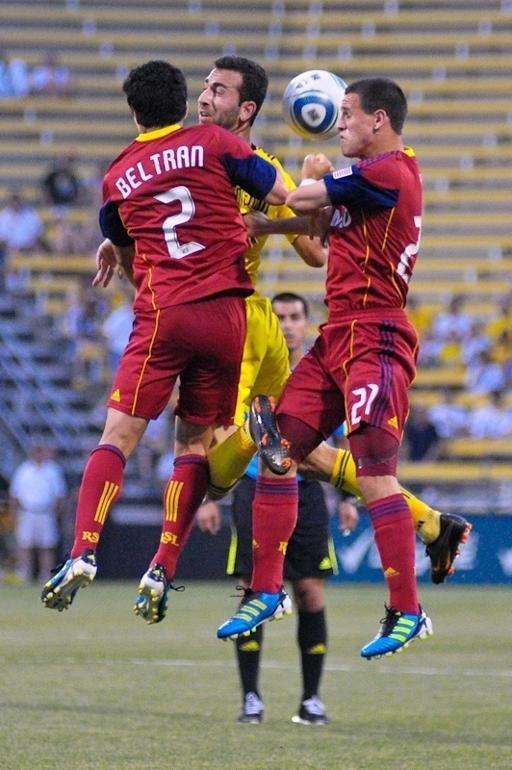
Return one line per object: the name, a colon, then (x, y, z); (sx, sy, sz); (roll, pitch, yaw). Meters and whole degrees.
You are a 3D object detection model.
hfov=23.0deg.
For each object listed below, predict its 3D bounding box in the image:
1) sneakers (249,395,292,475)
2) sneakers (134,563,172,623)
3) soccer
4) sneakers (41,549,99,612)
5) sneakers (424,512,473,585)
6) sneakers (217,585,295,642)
sneakers: (0.049, 0.201, 5.093); (0.140, 0.335, 0.130); (-8, -28, -29)
sneakers: (-0.417, 0.830, 5.011); (0.129, 0.247, 0.140); (19, 42, 14)
soccer: (0.289, -1.304, 5.859); (0.338, 0.302, 0.304); (-16, 30, -25)
sneakers: (-0.726, 0.767, 4.873); (0.191, 0.270, 0.294); (3, 6, -9)
sneakers: (0.814, 0.729, 5.641); (0.257, 0.309, 0.215); (-14, -37, 19)
sneakers: (-0.037, 0.901, 5.027); (0.134, 0.125, 0.426); (-17, -2, 44)
